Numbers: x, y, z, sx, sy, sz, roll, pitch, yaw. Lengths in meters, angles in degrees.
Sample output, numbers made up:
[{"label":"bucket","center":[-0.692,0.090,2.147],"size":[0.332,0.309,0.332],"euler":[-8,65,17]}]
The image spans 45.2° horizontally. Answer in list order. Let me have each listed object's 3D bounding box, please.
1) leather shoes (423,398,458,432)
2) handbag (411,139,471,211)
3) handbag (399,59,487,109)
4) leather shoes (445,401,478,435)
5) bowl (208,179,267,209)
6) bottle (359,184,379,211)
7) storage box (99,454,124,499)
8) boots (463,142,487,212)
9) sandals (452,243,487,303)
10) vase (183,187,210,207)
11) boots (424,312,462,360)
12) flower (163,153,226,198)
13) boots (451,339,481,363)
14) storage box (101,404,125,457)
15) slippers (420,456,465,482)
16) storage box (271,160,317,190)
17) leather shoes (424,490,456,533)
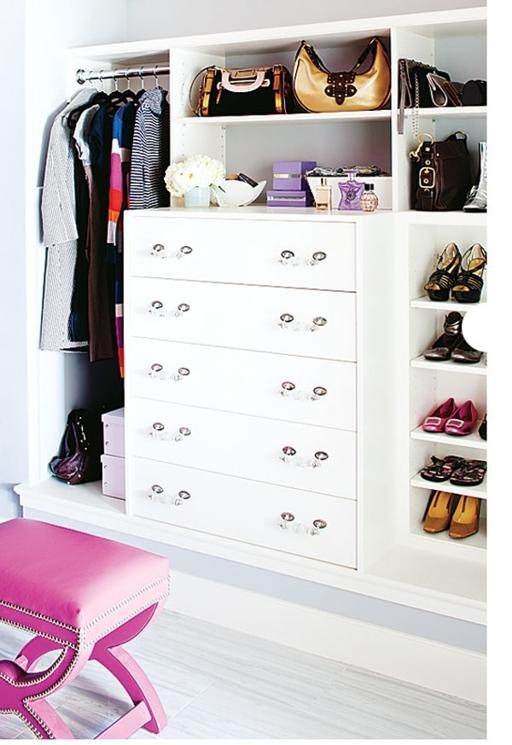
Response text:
[{"label":"leather shoes","center":[0.632,0.140,2.109],"size":[0.065,0.080,0.197],"euler":[-2,12,34]},{"label":"handbag","center":[0.599,-0.628,1.958],"size":[0.216,0.242,0.163],"euler":[-1,7,2]},{"label":"handbag","center":[0.537,-0.848,1.834],"size":[0.240,0.094,0.231],"euler":[38,32,25]},{"label":"leather shoes","center":[0.699,0.156,2.072],"size":[0.066,0.069,0.173],"euler":[-3,7,28]},{"label":"bowl","center":[-0.072,-0.660,2.295],"size":[0.141,0.066,0.129],"euler":[-3,12,1]},{"label":"bottle","center":[0.363,-0.556,1.961],"size":[0.058,0.092,0.090],"euler":[0,8,10]},{"label":"storage box","center":[-0.580,0.424,2.497],"size":[0.127,0.171,0.036],"euler":[5,10,40]},{"label":"boots","center":[0.691,-0.591,1.860],"size":[0.082,0.199,0.247],"euler":[3,13,25]},{"label":"sandals","center":[0.694,-0.325,2.004],"size":[0.097,0.191,0.208],"euler":[2,8,20]},{"label":"vase","center":[-0.213,-0.620,2.205],"size":[0.071,0.071,0.072],"euler":[6,11,39]},{"label":"boots","center":[0.643,-0.117,2.122],"size":[0.080,0.103,0.249],"euler":[4,37,42]},{"label":"flower","center":[-0.223,-0.709,2.221],"size":[0.201,0.134,0.151],"euler":[0,8,5]},{"label":"boots","center":[0.680,-0.070,1.983],"size":[0.092,0.068,0.138],"euler":[2,8,18]},{"label":"storage box","center":[-0.580,0.256,2.499],"size":[0.116,0.169,0.037],"euler":[5,10,41]},{"label":"slippers","center":[0.636,0.312,2.095],"size":[0.066,0.042,0.173],"euler":[2,9,28]},{"label":"storage box","center":[0.136,-0.700,2.193],"size":[0.152,0.111,0.092],"euler":[0,8,5]},{"label":"leather shoes","center":[0.652,0.476,2.168],"size":[0.067,0.058,0.202],"euler":[-6,40,36]}]
